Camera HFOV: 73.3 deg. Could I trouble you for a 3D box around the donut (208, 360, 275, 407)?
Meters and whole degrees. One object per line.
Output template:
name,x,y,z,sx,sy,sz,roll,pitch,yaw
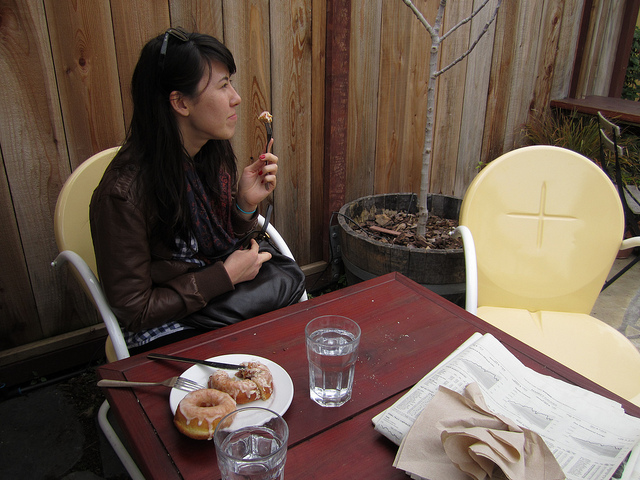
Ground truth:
donut,-0.190,0.325,1.050,0.121,0.088,0.129,-12,24,-37

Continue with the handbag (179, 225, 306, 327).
handbag,-0.262,0.184,1.667,0.373,0.150,0.379,-28,48,-29

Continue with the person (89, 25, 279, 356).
person,-0.479,-0.196,1.587,0.736,1.066,0.412,-17,29,-31

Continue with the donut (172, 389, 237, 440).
donut,-0.263,0.389,0.974,0.120,0.056,0.135,2,4,-22

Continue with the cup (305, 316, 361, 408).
cup,0.028,0.310,1.079,0.109,0.240,0.113,1,19,0
